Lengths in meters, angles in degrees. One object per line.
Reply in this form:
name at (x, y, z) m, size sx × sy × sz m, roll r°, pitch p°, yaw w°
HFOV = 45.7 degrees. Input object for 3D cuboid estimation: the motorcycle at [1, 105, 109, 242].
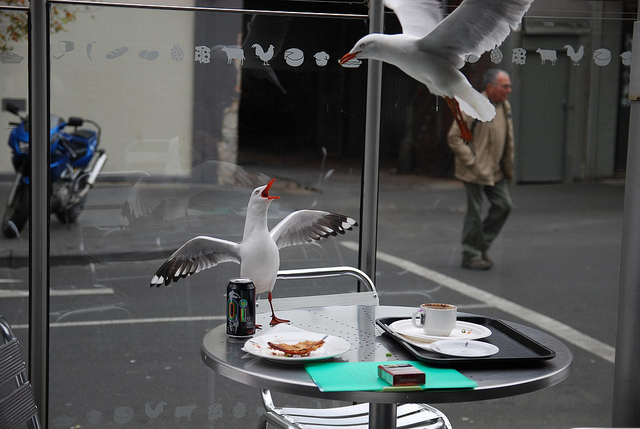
motorcycle at (-1.404, -0.220, 4.049) m, size 0.538 × 0.703 × 0.053 m, roll -3°, pitch 9°, yaw -20°

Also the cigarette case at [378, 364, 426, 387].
cigarette case at (0.308, 0.607, 2.873) m, size 0.171 × 0.057 × 0.088 m, roll 0°, pitch 9°, yaw -4°

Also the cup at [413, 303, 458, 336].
cup at (0.467, 0.454, 3.216) m, size 0.207 × 0.125 × 0.136 m, roll 1°, pitch 2°, yaw -23°

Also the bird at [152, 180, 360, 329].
bird at (-0.266, 0.128, 3.696) m, size 0.666 × 0.632 × 0.866 m, roll 8°, pitch 11°, yaw 38°

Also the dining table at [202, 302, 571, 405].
dining table at (0.270, 0.533, 3.156) m, size 1.449 × 0.283 × 0.835 m, roll 4°, pitch 10°, yaw 19°

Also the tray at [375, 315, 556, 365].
tray at (0.603, 0.517, 3.190) m, size 0.682 × 0.081 × 0.475 m, roll 1°, pitch 9°, yaw -1°
